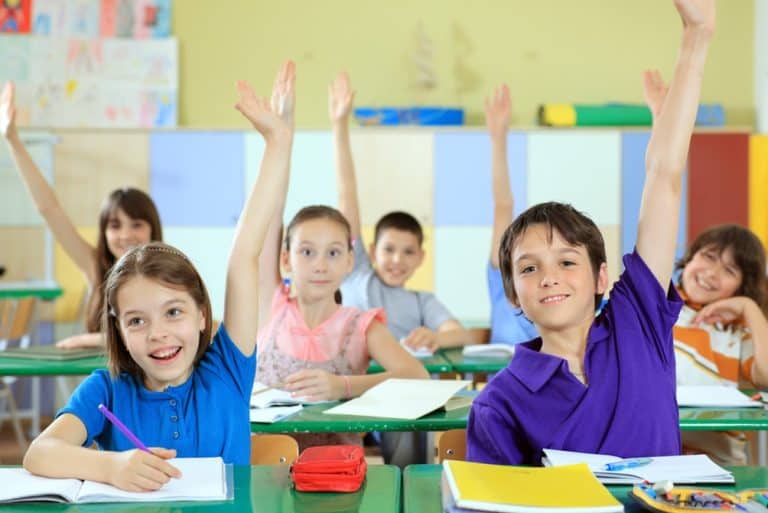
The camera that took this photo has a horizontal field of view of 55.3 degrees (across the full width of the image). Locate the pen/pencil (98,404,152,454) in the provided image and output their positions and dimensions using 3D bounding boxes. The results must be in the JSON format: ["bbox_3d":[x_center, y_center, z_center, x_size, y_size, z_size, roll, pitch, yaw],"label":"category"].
[{"bbox_3d":[-0.606,0.401,1.721,0.019,0.167,0.017,-37,27,1],"label":"pen/pencil"}]

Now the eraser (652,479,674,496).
[{"bbox_3d":[0.558,0.460,1.467,0.031,0.013,0.030,-10,9,28],"label":"eraser"}]
